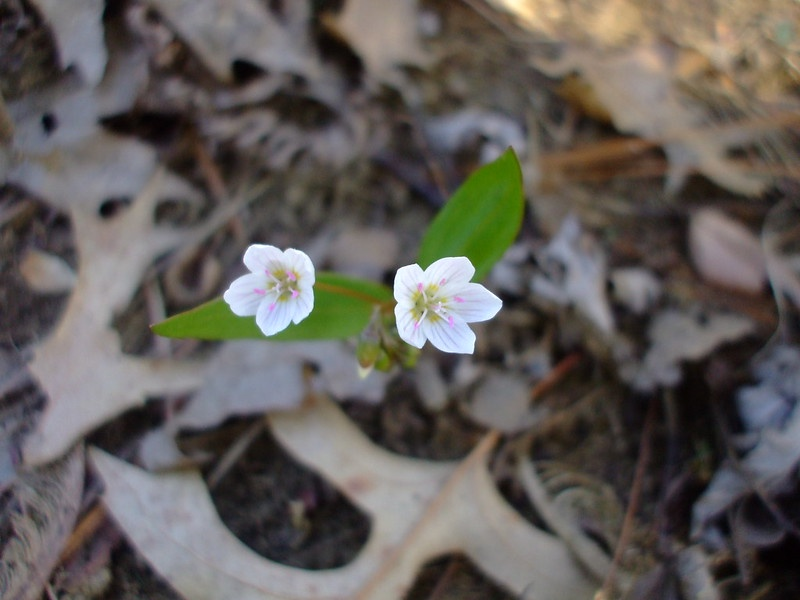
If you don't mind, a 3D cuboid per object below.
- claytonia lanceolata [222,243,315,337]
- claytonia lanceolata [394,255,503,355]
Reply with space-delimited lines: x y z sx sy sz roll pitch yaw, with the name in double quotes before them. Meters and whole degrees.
"claytonia lanceolata" -0.158 -0.011 0.975 0.098 0.124 0.051 -8 -10 0
"claytonia lanceolata" 0.049 0.004 1.025 0.124 0.064 0.114 15 18 -9
